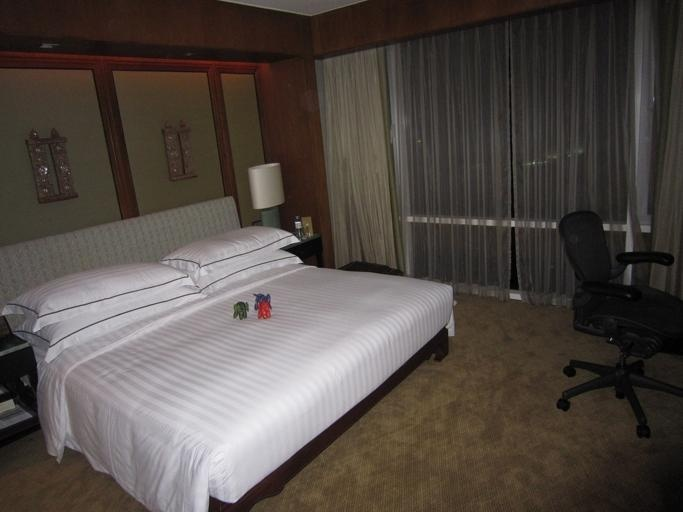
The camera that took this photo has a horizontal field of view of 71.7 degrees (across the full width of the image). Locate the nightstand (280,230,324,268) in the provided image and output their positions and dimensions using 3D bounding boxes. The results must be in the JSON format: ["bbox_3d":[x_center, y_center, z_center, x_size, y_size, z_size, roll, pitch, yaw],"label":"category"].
[{"bbox_3d":[-0.514,-0.107,6.238,0.365,0.552,0.527,6,19,25],"label":"nightstand"}]

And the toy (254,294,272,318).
[{"bbox_3d":[-0.692,0.444,4.258,0.195,0.224,0.141,5,9,39],"label":"toy"}]

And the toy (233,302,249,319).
[{"bbox_3d":[-0.896,0.475,4.246,0.114,0.162,0.040,3,3,-1],"label":"toy"}]
